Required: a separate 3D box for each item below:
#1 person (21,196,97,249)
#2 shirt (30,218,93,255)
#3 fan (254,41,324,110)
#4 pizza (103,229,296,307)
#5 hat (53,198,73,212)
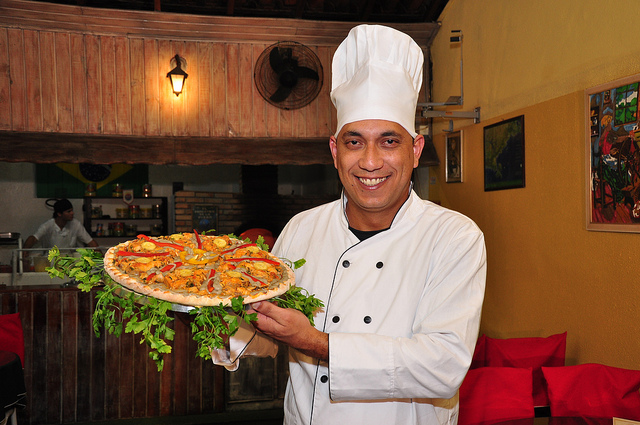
[{"bbox_3d":[-4.427,0.159,10.252,0.783,0.620,0.418,1,19,-40],"label":"person"},{"bbox_3d":[-4.021,0.438,9.448,1.175,0.698,0.322,4,-32,-30],"label":"shirt"},{"bbox_3d":[-0.422,-1.787,7.943,0.831,0.923,0.318,1,23,-7],"label":"fan"},{"bbox_3d":[-0.845,0.382,4.284,1.310,0.524,0.515,-1,-5,4],"label":"pizza"},{"bbox_3d":[-3.876,-0.137,9.194,0.215,0.167,0.221,18,11,4],"label":"hat"}]
